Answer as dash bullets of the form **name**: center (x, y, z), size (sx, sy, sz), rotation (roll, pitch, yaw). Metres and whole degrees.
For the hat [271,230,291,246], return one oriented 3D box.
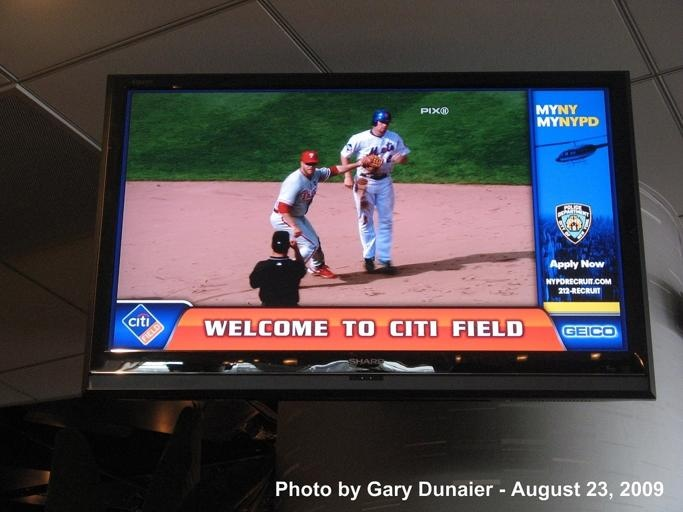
- **hat**: center (-0.207, -0.063, 2.647), size (0.052, 0.047, 0.032), rotation (0, 82, -3)

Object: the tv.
- **tv**: center (0.110, -0.042, 2.617), size (1.489, 0.055, 0.798), rotation (0, 67, 3)
